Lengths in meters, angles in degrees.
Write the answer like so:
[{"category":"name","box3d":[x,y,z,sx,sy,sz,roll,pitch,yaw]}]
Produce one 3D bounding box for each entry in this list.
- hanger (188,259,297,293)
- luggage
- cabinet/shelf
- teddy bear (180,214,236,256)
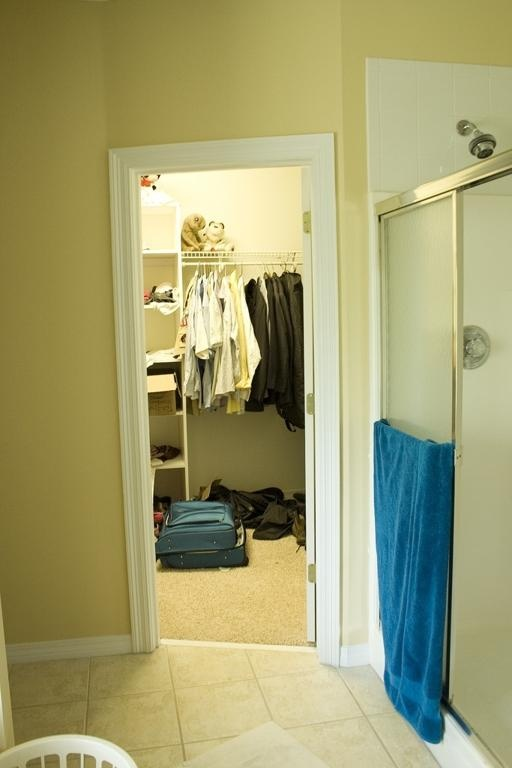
[{"category":"hanger","box3d":[-0.081,-0.707,3.811,0.752,0.195,0.306,-2,5,-11]},{"category":"luggage","box3d":[-0.273,0.774,3.404,0.578,0.268,0.560,-1,4,-3]},{"category":"cabinet/shelf","box3d":[-0.538,-0.167,3.710,0.312,1.830,0.313,-2,5,-10]},{"category":"teddy bear","box3d":[-0.319,-0.892,3.749,0.286,0.264,0.199,1,9,-21]}]
